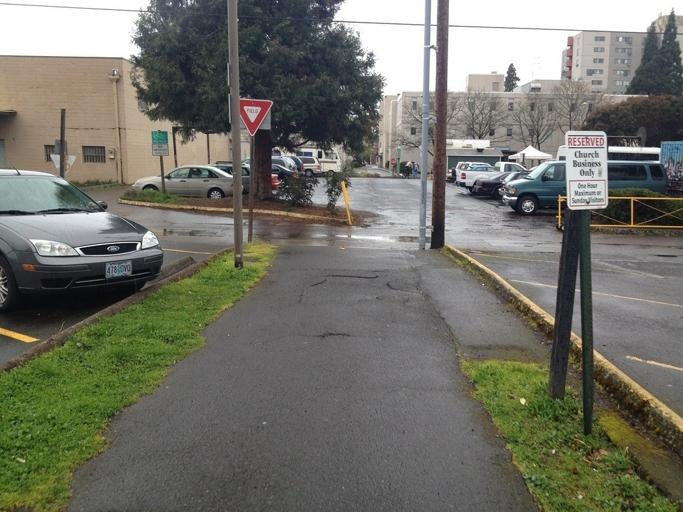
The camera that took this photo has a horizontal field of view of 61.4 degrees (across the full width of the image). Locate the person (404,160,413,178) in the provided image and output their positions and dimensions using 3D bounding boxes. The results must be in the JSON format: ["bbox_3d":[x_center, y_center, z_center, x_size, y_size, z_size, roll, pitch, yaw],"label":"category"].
[{"bbox_3d":[7.269,-9.298,61.345,0.510,2.047,0.998,3,3,-30],"label":"person"}]

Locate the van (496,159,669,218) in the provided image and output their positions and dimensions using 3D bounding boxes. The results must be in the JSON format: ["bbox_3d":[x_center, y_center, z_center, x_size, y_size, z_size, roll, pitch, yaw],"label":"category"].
[{"bbox_3d":[11.199,-3.051,26.335,6.651,2.770,2.470,2,2,20],"label":"van"}]
